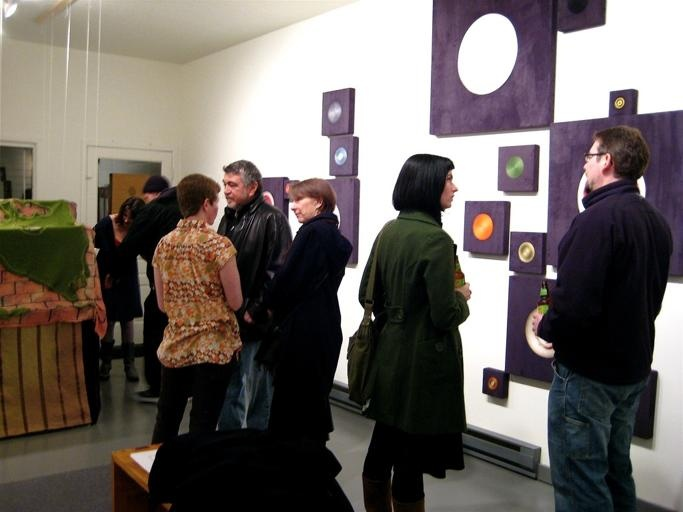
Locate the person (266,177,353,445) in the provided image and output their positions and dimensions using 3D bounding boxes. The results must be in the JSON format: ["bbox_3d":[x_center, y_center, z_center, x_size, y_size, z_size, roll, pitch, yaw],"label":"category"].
[{"bbox_3d":[-0.188,0.304,3.144,0.473,1.469,0.361,1,6,-2],"label":"person"}]

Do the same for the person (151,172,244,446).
[{"bbox_3d":[-0.767,0.289,2.917,0.484,1.428,0.316,1,6,-6],"label":"person"}]
